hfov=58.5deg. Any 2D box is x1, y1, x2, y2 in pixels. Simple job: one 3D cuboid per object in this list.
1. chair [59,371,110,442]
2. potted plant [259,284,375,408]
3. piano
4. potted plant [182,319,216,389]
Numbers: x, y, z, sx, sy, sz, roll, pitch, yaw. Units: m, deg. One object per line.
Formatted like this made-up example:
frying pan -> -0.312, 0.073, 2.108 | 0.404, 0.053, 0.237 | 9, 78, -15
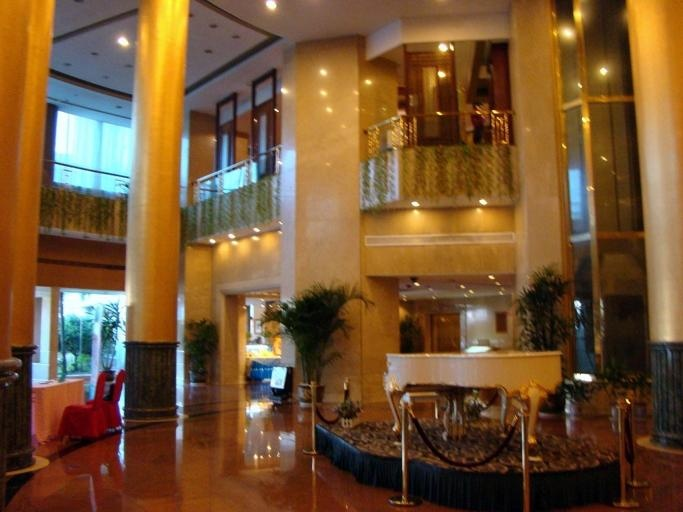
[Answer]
chair -> -4.107, 2.340, 9.725 | 0.730, 1.011, 0.797 | -4, -10, 20
potted plant -> -0.619, 1.826, 13.910 | 2.177, 2.330, 2.166 | 3, 4, 36
piano -> 1.640, 1.698, 7.470 | 2.052, 1.184, 1.551 | -5, -4, 24
potted plant -> -4.328, 2.920, 18.208 | 1.008, 1.882, 0.967 | -3, -9, -8
